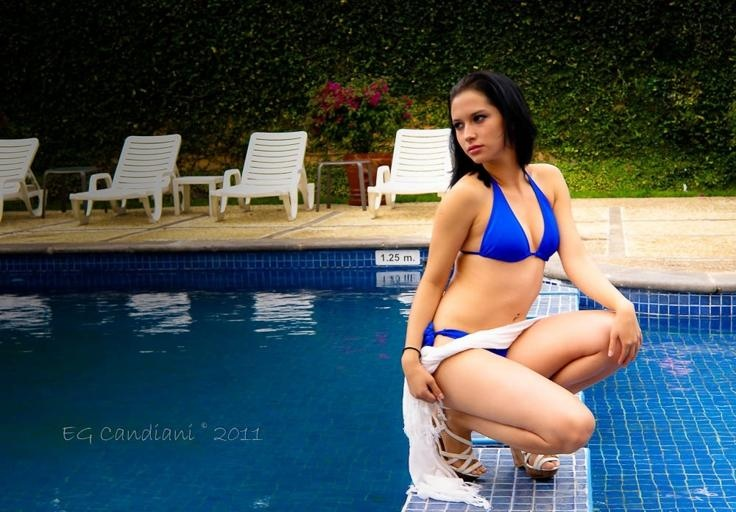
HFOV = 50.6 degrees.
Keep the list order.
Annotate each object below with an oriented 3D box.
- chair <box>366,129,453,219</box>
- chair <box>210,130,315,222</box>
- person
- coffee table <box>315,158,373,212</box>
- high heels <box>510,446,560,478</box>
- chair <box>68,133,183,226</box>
[{"bbox_3d":[0.518,-1.084,9.523,1.126,1.269,1.192,2,9,21],"label":"chair"},{"bbox_3d":[-1.292,-0.995,9.560,1.169,1.218,1.090,-6,16,-12],"label":"chair"},{"bbox_3d":[0.712,0.143,3.401,0.988,1.624,0.904,10,32,7],"label":"person"},{"bbox_3d":[-0.342,-0.956,10.126,0.827,0.727,0.770,-1,8,6],"label":"coffee table"},{"bbox_3d":[0.752,0.930,3.541,0.103,0.101,0.266,-1,-4,-33],"label":"high heels"},{"bbox_3d":[-3.039,-0.805,9.741,1.255,1.306,1.212,1,14,11],"label":"chair"}]
